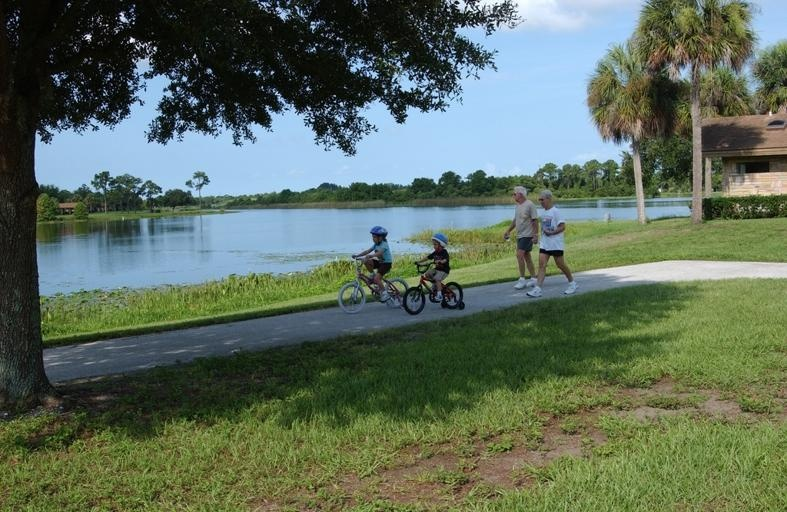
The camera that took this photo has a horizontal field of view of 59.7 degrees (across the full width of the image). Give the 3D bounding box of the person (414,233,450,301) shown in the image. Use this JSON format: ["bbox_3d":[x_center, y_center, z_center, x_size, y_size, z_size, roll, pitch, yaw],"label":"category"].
[{"bbox_3d":[1.018,0.282,16.853,0.698,1.316,0.728,-7,3,3],"label":"person"}]

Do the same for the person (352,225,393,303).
[{"bbox_3d":[-0.447,0.167,18.237,0.757,1.572,3.074,-7,3,0],"label":"person"}]

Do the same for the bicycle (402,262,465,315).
[{"bbox_3d":[0.885,0.891,17.039,1.650,1.058,0.996,0,-2,-30],"label":"bicycle"}]

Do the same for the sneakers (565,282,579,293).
[{"bbox_3d":[4.468,0.830,17.362,0.172,0.222,0.523,-26,6,41],"label":"sneakers"}]

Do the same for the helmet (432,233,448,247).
[{"bbox_3d":[1.150,-0.401,16.714,0.380,0.309,0.291,16,12,-7],"label":"helmet"}]

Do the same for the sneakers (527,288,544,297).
[{"bbox_3d":[3.550,0.922,17.258,0.164,0.221,0.474,-2,-3,44],"label":"sneakers"}]
